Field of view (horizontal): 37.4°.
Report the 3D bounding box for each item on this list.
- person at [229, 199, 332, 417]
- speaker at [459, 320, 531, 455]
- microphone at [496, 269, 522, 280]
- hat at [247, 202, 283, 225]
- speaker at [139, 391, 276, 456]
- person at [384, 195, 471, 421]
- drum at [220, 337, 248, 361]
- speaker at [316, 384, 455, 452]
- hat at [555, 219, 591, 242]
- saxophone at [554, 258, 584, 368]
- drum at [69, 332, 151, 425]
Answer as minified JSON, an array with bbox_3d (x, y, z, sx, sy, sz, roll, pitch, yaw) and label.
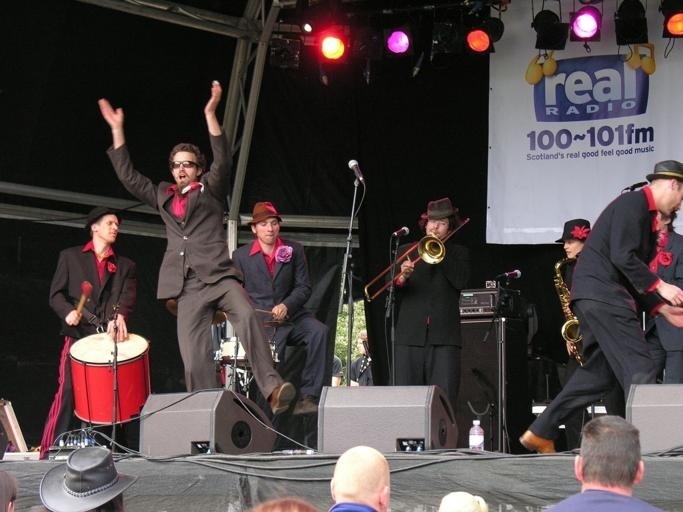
[{"bbox_3d":[-0.625,0.499,11.080,0.858,2.450,0.816,0,5,-30],"label":"person"},{"bbox_3d":[1.533,1.293,10.319,0.697,1.313,0.768,3,1,23],"label":"speaker"},{"bbox_3d":[1.908,0.213,11.535,0.305,0.094,0.094,-9,3,-41],"label":"microphone"},{"bbox_3d":[-0.890,-0.472,11.347,0.324,0.170,0.288,-21,-5,41],"label":"hat"},{"bbox_3d":[-1.136,1.396,8.362,0.875,0.484,0.942,8,-13,-43],"label":"speaker"},{"bbox_3d":[0.839,0.453,9.735,0.694,2.079,0.811,-1,-3,22],"label":"person"},{"bbox_3d":[-1.137,0.976,10.476,0.306,0.294,0.198,-4,-14,27],"label":"drum"},{"bbox_3d":[0.252,1.233,7.648,0.837,0.459,0.577,-2,-5,16],"label":"speaker"},{"bbox_3d":[2.464,-0.275,10.772,0.237,0.154,0.304,-3,-10,-27],"label":"hat"},{"bbox_3d":[2.327,0.599,10.383,0.364,1.272,0.315,-1,3,-19],"label":"saxophone"},{"bbox_3d":[-2.140,1.127,9.229,0.685,0.597,0.675,-14,23,-31],"label":"drum"}]
